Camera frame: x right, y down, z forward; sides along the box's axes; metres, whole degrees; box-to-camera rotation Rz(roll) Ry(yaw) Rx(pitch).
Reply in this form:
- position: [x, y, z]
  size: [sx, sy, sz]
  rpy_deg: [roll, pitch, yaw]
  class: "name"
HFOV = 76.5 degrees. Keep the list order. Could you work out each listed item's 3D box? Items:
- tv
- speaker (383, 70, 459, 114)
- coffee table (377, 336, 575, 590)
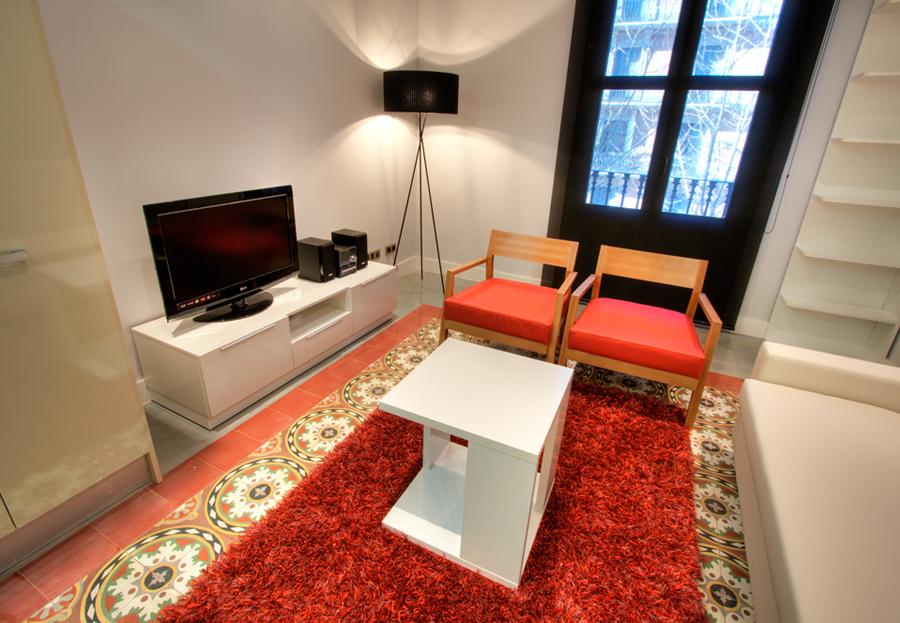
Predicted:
- position: [-1.426, -0.354, 3.472]
  size: [0.191, 0.529, 0.728]
  rpy_deg: [18, 32, 27]
  class: "tv"
- position: [-0.234, -1.705, 4.511]
  size: [0.415, 0.183, 0.422]
  rpy_deg: [-4, 20, -14]
  class: "speaker"
- position: [0.220, 0.672, 3.029]
  size: [0.999, 1.007, 1.017]
  rpy_deg: [17, 33, 22]
  class: "coffee table"
